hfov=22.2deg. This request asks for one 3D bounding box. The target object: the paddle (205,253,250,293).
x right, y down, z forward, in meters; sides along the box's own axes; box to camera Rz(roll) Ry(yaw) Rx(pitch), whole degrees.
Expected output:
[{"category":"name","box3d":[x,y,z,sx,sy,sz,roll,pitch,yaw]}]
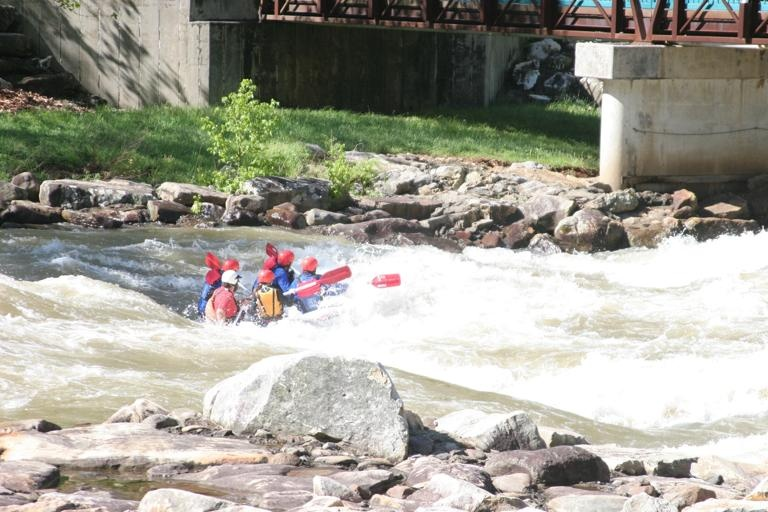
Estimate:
[{"category":"paddle","box3d":[-4.259,0.317,49.627,1.428,0.780,0.624,1,-24,20]}]

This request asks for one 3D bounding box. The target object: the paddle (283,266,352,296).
[{"category":"paddle","box3d":[-1.616,0.602,49.606,1.375,0.789,1.133,1,-5,-8]}]

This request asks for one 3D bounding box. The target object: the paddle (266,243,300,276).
[{"category":"paddle","box3d":[-2.636,0.058,50.090,0.907,0.574,0.530,37,-2,-12]}]
